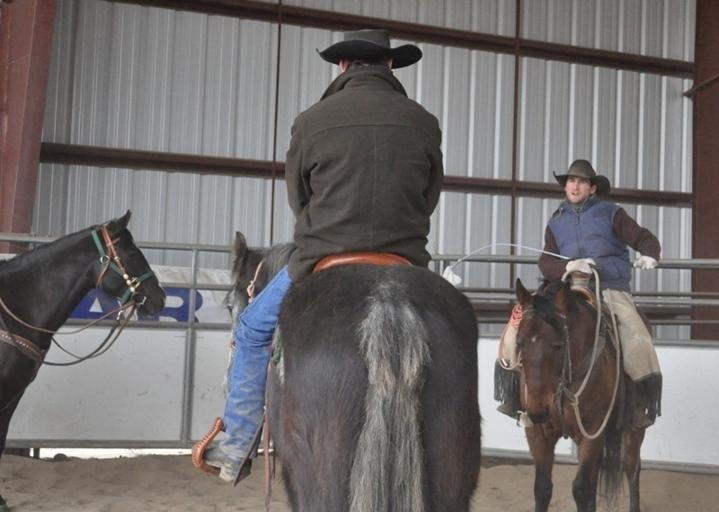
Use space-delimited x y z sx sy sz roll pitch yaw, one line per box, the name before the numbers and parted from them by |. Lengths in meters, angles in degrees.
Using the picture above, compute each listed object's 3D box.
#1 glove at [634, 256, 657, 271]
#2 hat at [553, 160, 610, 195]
glove | 3.924 0.070 17.387 0.323 0.167 0.242 2 -3 13
hat | 3.067 -1.207 18.180 0.687 0.367 0.875 9 -11 0
